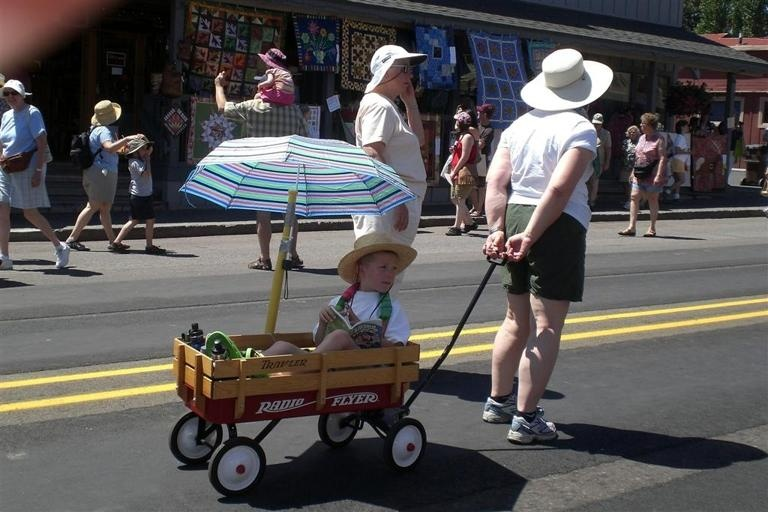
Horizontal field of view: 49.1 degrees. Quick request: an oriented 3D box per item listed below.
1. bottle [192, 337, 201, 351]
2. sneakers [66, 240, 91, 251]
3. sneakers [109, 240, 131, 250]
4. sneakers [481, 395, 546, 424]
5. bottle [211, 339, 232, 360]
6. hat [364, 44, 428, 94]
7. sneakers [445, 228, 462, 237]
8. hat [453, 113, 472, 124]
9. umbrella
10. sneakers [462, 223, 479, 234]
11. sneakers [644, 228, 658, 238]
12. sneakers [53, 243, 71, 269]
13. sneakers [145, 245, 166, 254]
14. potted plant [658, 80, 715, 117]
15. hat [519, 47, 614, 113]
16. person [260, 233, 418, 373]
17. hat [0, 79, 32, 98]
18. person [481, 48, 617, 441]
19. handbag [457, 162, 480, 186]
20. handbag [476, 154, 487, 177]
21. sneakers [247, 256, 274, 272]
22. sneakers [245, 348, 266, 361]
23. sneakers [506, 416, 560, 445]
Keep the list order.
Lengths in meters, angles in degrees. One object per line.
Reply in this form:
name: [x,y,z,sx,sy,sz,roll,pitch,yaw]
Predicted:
bottle: [-1.304,0.602,5.798,0.080,0.110,0.060,2,-7,-35]
sneakers: [-4.685,-0.172,12.821,0.313,0.137,0.127,-1,11,-17]
sneakers: [-4.016,-0.175,12.758,0.315,0.135,0.113,0,20,-25]
sneakers: [1.019,1.192,6.719,0.542,0.265,0.195,-2,3,-14]
bottle: [-1.097,0.598,5.581,0.093,0.167,0.157,-4,-6,38]
hat: [0.069,-1.666,7.202,0.512,0.272,0.348,-33,-1,20]
sneakers: [1.349,-0.471,16.067,0.134,0.094,0.236,-1,-4,36]
hat: [1.512,-2.682,16.130,0.312,0.250,0.558,2,13,3]
umbrella: [-0.650,-0.456,6.630,1.528,1.579,1.503,20,-14,-6]
sneakers: [1.670,-0.588,16.490,0.195,0.225,0.643,6,14,20]
sneakers: [5.219,-0.464,16.348,0.358,0.251,0.122,2,6,11]
sneakers: [-4.339,-0.008,11.303,0.154,0.450,0.189,-2,-2,28]
sneakers: [-3.459,-0.114,12.738,0.340,0.148,0.124,-2,9,-15]
potted plant: [9.385,-4.920,26.301,1.182,1.223,1.158,0,7,0]
hat: [1.456,-1.247,6.423,0.563,0.162,0.536,-40,47,-18]
person: [-0.132,0.248,5.977,0.785,0.780,0.514,-3,13,-16]
hat: [-4.881,-2.221,11.085,0.269,0.215,0.372,-5,14,-26]
person: [1.149,-0.097,6.357,0.846,2.886,0.771,-2,13,-15]
handbag: [1.559,-1.546,15.736,0.245,0.334,0.497,10,15,34]
handbag: [2.167,-2.008,18.698,0.134,0.554,0.583,6,5,17]
sneakers: [-1.737,0.093,11.778,0.359,0.170,0.155,5,5,25]
sneakers: [-0.924,0.681,5.911,0.083,0.046,0.114,1,5,2]
sneakers: [1.102,1.291,6.307,0.393,0.202,0.166,-2,4,-25]
